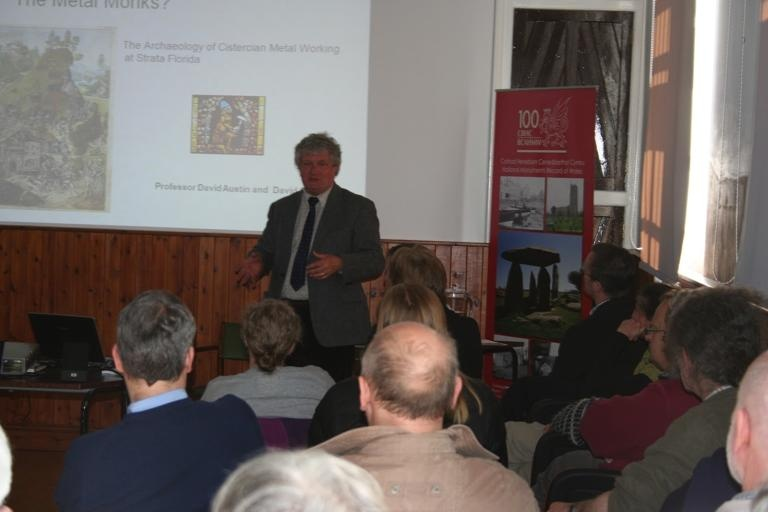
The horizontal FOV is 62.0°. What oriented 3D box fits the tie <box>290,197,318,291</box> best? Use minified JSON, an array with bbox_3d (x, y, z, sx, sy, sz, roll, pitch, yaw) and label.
[{"bbox_3d":[-0.451,-0.066,3.925,0.112,0.545,0.098,9,-12,7],"label":"tie"}]
